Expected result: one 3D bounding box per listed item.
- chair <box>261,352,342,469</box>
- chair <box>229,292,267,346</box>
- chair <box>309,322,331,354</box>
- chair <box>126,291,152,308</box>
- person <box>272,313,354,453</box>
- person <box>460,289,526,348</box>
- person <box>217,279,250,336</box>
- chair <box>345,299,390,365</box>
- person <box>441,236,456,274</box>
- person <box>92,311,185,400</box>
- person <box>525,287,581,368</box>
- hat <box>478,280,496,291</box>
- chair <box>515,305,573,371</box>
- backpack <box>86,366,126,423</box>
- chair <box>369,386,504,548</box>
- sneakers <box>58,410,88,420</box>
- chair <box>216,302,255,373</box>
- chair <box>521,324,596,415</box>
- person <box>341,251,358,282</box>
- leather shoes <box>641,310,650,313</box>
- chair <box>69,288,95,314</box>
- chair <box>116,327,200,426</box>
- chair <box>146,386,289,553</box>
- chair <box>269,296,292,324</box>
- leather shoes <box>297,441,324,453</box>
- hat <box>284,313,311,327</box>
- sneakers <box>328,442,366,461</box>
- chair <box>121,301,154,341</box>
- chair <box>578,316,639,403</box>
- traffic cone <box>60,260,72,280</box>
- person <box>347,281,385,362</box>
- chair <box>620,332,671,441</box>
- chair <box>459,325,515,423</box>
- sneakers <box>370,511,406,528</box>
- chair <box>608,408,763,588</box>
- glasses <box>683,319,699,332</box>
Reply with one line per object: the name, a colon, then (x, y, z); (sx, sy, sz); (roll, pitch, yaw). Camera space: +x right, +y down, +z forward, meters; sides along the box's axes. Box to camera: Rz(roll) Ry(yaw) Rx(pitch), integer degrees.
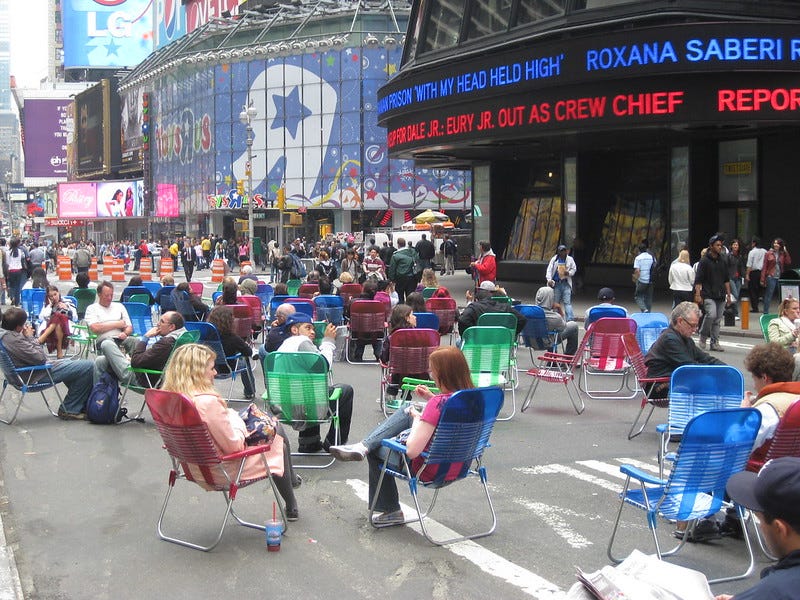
chair: (-1.070, 1.181, 9.126); (0.759, 1.221, 0.888); (-2, -4, 23)
chair: (-2.762, 0.331, 15.033); (0.662, 1.235, 0.877); (1, 35, -5)
chair: (-1.311, 0.512, 13.291); (0.296, 0.556, 0.529); (0, -9, 5)
chair: (-5.390, -0.013, 17.210); (0.250, 0.437, 0.293); (-2, 19, -38)
person: (-1.118, 1.050, 9.863); (0.811, 1.545, 0.862); (-4, 14, 9)
person: (1.483, 0.437, 13.514); (0.818, 1.279, 0.890); (0, 22, -1)
person: (-2.984, 0.348, 15.021); (0.701, 1.168, 0.826); (1, 28, -13)
chair: (-0.608, 0.477, 15.587); (0.739, 1.335, 0.966); (3, 18, 4)
person: (2.368, -2.197, 41.048); (0.557, 1.911, 0.971); (0, 6, 1)
person: (-3.779, 0.614, 11.646); (0.702, 1.189, 0.854); (8, -5, 45)
person: (2.697, 0.484, 14.690); (0.861, 1.585, 0.795); (-14, 24, -19)
hat: (1.555, -0.244, 14.965); (0.225, 0.192, 0.327); (-1, -7, 17)
chair: (2.310, 0.528, 14.205); (0.616, 1.229, 0.869); (-11, 11, 10)
backpack: (-3.997, 1.316, 11.280); (0.451, 0.690, 0.366); (6, 4, -6)
chair: (0.322, 1.387, 7.328); (0.929, 1.391, 1.039); (1, 4, -27)
sneakers: (-4.485, 1.560, 11.483); (0.395, 0.208, 0.152); (0, 1, -9)
chair: (-2.441, 0.546, 11.771); (0.620, 1.065, 0.738); (1, -10, 11)
chair: (2.260, 1.035, 12.262); (0.915, 1.294, 0.875); (6, 2, 29)
person: (-1.481, -1.038, 24.924); (0.449, 0.902, 0.945); (-2, 6, -12)
leather shoes: (5.997, 0.272, 20.404); (0.155, 0.088, 0.253); (-2, -3, -14)
chair: (-6.536, 0.025, 17.096); (0.412, 0.604, 0.435); (-3, 14, -32)
chair: (-3.307, 0.837, 10.953); (0.953, 1.316, 0.938); (4, 14, -3)
chair: (-1.587, 1.416, 7.151); (0.879, 1.402, 1.011); (1, 5, 23)
chair: (-1.979, 0.145, 13.787); (0.383, 0.563, 0.395); (1, 24, -5)
leather shoes: (-1.027, 1.683, 9.523); (0.283, 0.117, 0.129); (-2, -4, -3)
hat: (-1.326, 0.232, 10.746); (0.306, 0.135, 0.231); (-10, -7, 14)
sneakers: (-0.448, 1.333, 7.240); (0.328, 0.152, 0.158); (3, 20, 28)
chair: (-4.824, 0.383, 15.489); (0.584, 0.906, 0.709); (-2, 4, -28)
chair: (3.148, 0.915, 12.572); (0.891, 1.689, 1.156); (0, 12, 4)
traffic cone: (-18.440, -1.636, 45.892); (0.926, 1.166, 0.976); (1, 1, -16)
person: (-0.616, 0.653, 15.475); (0.598, 1.174, 0.781); (0, -17, 2)
chair: (3.167, 1.082, 10.337); (0.807, 1.173, 0.741); (-2, 2, -3)
chair: (1.044, 0.904, 11.057); (0.753, 1.430, 0.947); (0, -18, 18)
sneakers: (-0.099, 1.943, 7.359); (0.234, 0.113, 0.131); (3, -9, -14)
chair: (2.241, 1.482, 6.649); (0.855, 1.487, 0.976); (-2, 7, -17)
glasses: (3.458, 0.310, 9.869); (0.090, 0.148, 0.341); (3, 7, 32)
